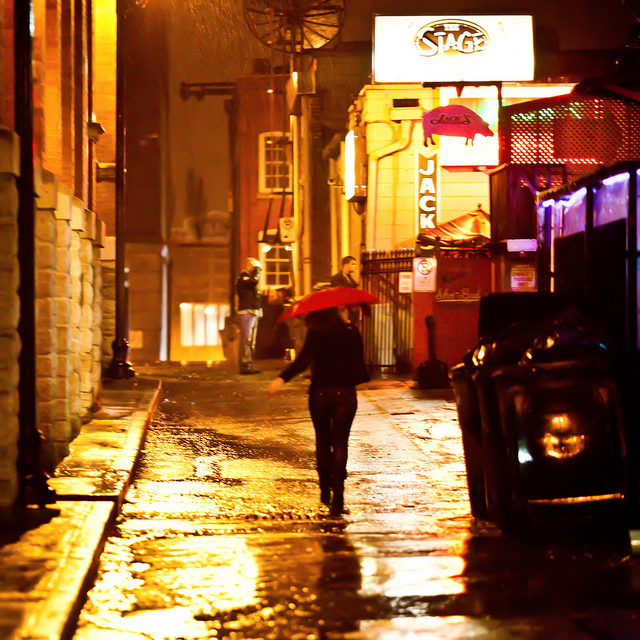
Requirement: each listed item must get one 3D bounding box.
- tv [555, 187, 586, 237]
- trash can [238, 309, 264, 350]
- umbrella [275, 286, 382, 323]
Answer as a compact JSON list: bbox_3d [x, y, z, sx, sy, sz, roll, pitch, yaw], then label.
[{"bbox_3d":[1.767,-0.818,7.538,0.316,0.198,0.001,-19,33,-32],"label":"tv"},{"bbox_3d":[-1.338,0.172,20.146,0.413,0.750,1.160,0,2,-3],"label":"trash can"},{"bbox_3d":[0.064,-0.142,9.025,0.691,0.267,0.946,2,2,30],"label":"umbrella"}]
